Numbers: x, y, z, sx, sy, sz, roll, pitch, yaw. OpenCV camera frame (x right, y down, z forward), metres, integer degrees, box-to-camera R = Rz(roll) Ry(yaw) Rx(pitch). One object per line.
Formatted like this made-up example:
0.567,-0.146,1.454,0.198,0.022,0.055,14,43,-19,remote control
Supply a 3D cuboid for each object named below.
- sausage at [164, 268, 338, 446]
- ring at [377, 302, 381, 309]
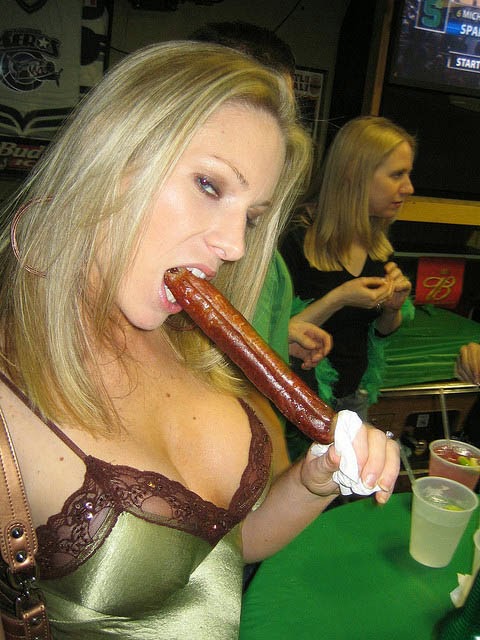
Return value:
-0.007,0.066,1.108,0.512,0.116,0.110,44,41,18,sausage
0.675,-0.071,2.569,0.010,0.007,0.035,-9,-29,16,ring
